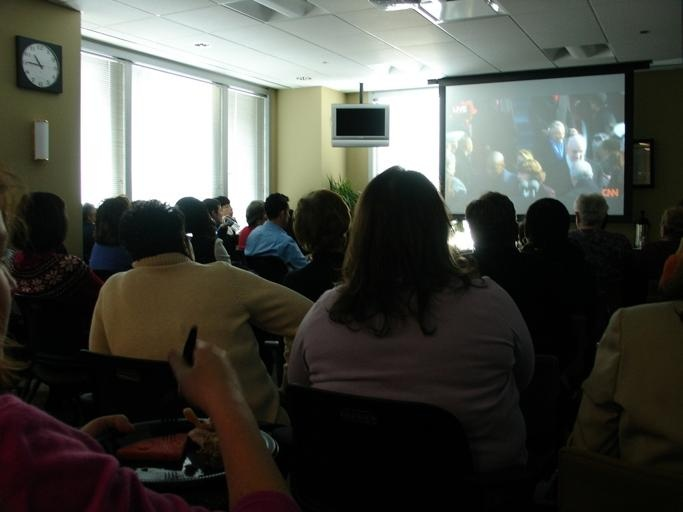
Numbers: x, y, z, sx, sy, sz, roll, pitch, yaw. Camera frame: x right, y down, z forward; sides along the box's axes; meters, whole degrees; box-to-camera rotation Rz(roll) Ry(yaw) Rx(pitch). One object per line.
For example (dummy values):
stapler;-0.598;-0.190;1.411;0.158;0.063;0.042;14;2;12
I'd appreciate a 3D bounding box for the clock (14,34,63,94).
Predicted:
clock;-2.780;-1.752;5.312;0.052;0.605;0.570;0;-1;29

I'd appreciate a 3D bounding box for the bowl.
bowl;-0.302;0.383;1.093;0.343;0.057;0.252;3;0;12
